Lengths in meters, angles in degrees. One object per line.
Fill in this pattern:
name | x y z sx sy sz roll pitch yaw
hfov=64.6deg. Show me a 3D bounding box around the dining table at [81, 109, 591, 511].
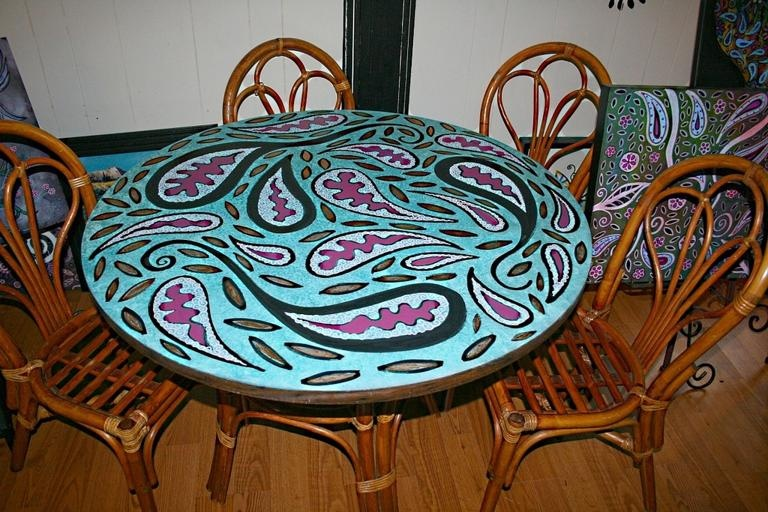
dining table | -0.250 0.430 2.369 1.382 1.022 1.385 37 51 27
